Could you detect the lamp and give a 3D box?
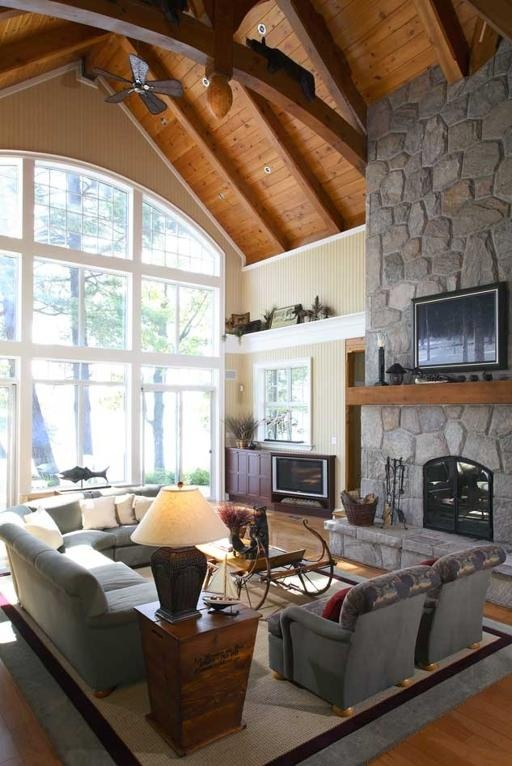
[{"bbox_3d":[-0.371,0.798,2.645,0.446,0.611,0.458,2,-8,-13],"label":"lamp"}]

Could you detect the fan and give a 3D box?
[{"bbox_3d":[-1.232,-3.039,5.765,0.810,0.863,0.115,20,-43,-14],"label":"fan"}]

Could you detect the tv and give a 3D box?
[{"bbox_3d":[1.902,-0.505,5.139,0.078,0.773,0.917,4,-4,-29],"label":"tv"}]

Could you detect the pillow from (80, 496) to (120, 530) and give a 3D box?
[{"bbox_3d":[-1.575,1.320,5.616,0.287,0.103,0.285,-2,44,-21],"label":"pillow"}]

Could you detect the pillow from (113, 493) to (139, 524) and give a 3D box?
[{"bbox_3d":[-1.351,1.314,5.798,0.258,0.299,0.113,2,-12,-39],"label":"pillow"}]

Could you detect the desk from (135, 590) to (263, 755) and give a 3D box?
[{"bbox_3d":[-0.265,1.355,2.674,0.468,0.564,0.457,0,1,-34],"label":"desk"}]

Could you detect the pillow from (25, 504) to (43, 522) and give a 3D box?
[{"bbox_3d":[-2.020,1.187,5.021,0.153,0.148,0.154,5,5,24],"label":"pillow"}]

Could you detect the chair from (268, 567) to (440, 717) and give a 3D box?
[{"bbox_3d":[0.508,1.305,3.056,0.815,0.723,0.674,-1,0,43],"label":"chair"}]

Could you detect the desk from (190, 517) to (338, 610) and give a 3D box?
[{"bbox_3d":[0.137,1.478,4.375,0.710,0.589,1.113,3,-2,-37],"label":"desk"}]
